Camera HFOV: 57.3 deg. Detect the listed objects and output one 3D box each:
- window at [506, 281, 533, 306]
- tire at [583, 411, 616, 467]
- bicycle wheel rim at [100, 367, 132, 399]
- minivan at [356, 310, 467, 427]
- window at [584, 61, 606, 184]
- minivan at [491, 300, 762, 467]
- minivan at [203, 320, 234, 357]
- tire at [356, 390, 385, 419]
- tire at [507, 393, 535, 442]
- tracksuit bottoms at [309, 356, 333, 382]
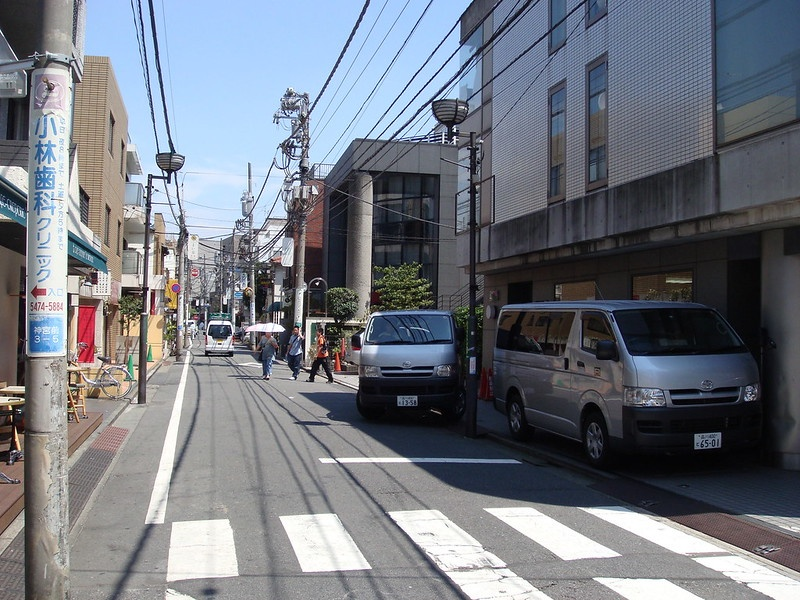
[{"bbox_3d":[3.351,-0.242,20.269,0.762,0.807,0.565,1,-6,-5],"label":"window"},{"bbox_3d":[3.091,2.155,11.338,0.237,0.831,0.712,4,14,-18],"label":"tire"},{"bbox_3d":[-7.564,2.197,19.669,0.564,1.040,0.480,7,-1,-13],"label":"bicycle wheel rim"},{"bbox_3d":[0.201,1.250,15.578,1.501,1.537,2.811,-1,-11,2],"label":"minivan"},{"bbox_3d":[4.344,-3.969,16.421,0.976,2.900,0.160,-25,29,-36],"label":"window"},{"bbox_3d":[3.590,1.337,12.345,2.053,1.850,3.677,2,-5,-20],"label":"minivan"},{"bbox_3d":[-11.282,2.393,46.325,1.660,2.333,2.195,1,-4,-15],"label":"minivan"},{"bbox_3d":[-0.606,2.238,15.752,0.662,0.740,0.270,1,-7,-11],"label":"tire"},{"bbox_3d":[2.275,2.188,13.688,0.208,0.697,0.691,4,-33,-14],"label":"tire"},{"bbox_3d":[-2.792,2.515,26.377,0.810,1.120,0.375,-4,32,-22],"label":"tracksuit bottoms"}]
